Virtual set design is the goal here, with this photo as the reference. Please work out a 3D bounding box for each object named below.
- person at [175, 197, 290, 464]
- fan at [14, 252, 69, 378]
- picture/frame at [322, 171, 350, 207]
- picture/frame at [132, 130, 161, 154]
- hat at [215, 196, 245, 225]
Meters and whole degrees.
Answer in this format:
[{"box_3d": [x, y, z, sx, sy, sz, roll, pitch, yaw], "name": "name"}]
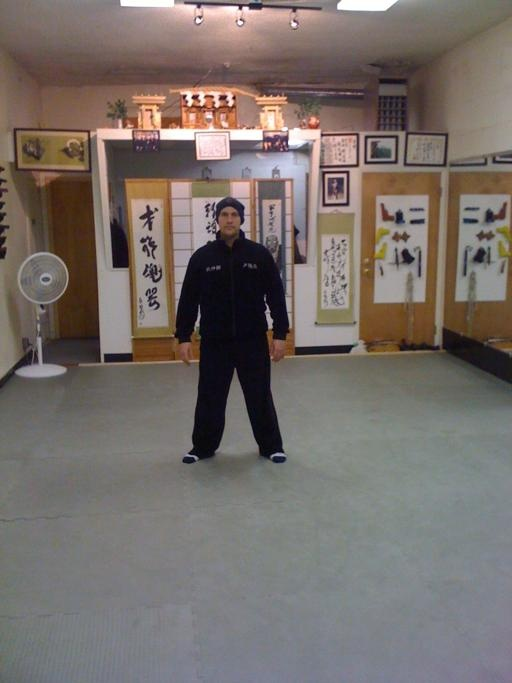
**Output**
[{"box_3d": [-0.137, -0.022, 2.997, 0.599, 1.493, 0.310, -2, 8, -10], "name": "person"}, {"box_3d": [-2.286, -0.313, 5.693, 0.534, 1.224, 1.235, -4, 9, -22], "name": "fan"}, {"box_3d": [0.875, -1.722, 6.005, 0.368, 0.484, 0.034, -1, 16, -5], "name": "picture/frame"}, {"box_3d": [-1.107, -2.025, 5.412, 0.213, 0.190, 0.031, 0, 12, -6], "name": "picture/frame"}, {"box_3d": [-0.138, -0.714, 2.900, 0.131, 0.154, 0.273, 0, 9, 3], "name": "hat"}]
